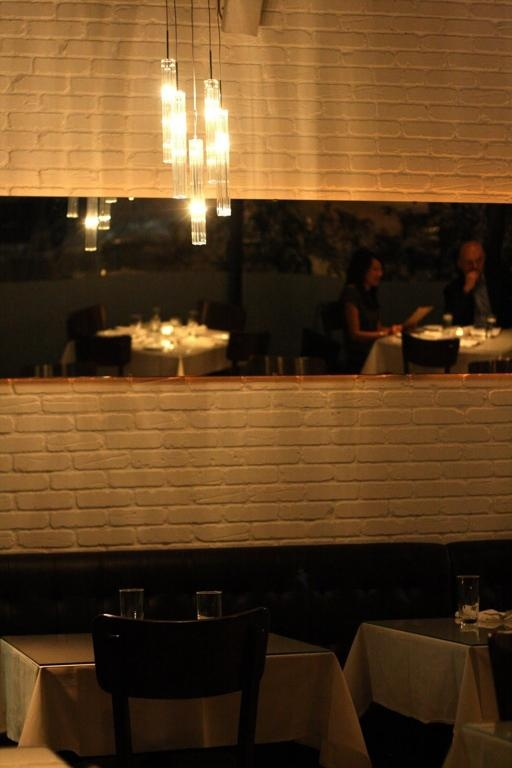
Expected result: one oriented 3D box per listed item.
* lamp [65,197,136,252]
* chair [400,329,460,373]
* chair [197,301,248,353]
[{"bbox_3d":[-0.582,-0.570,3.488,0.182,0.188,0.090,-1,11,-8],"label":"lamp"},{"bbox_3d":[0.651,-0.125,3.779,0.179,0.240,0.168,3,27,6],"label":"chair"},{"bbox_3d":[-0.113,-0.216,3.551,0.171,0.201,0.186,-4,3,-36],"label":"chair"}]
